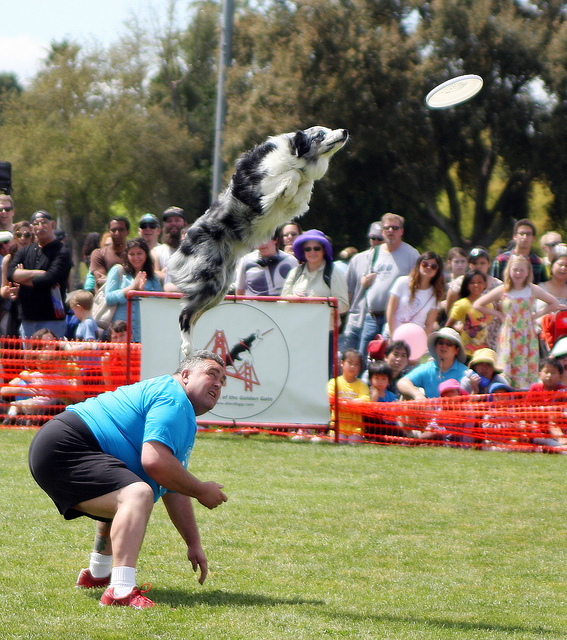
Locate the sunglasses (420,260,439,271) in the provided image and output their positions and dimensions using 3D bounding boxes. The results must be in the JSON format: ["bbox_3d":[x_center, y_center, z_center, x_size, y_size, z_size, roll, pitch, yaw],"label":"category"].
[{"bbox_3d":[1.691,-0.655,19.515,0.201,0.119,0.067,-1,-3,4],"label":"sunglasses"}]

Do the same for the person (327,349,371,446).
[{"bbox_3d":[0.743,0.851,18.552,0.439,1.000,0.412,6,13,21],"label":"person"}]

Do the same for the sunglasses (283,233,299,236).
[{"bbox_3d":[0.092,-1.109,21.459,0.176,0.039,0.134,-1,-2,7],"label":"sunglasses"}]

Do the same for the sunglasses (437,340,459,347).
[{"bbox_3d":[1.839,0.242,18.919,0.216,0.080,0.050,-1,-3,2],"label":"sunglasses"}]

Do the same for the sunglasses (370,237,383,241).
[{"bbox_3d":[1.243,-1.076,21.984,0.127,0.028,0.265,-2,-3,34],"label":"sunglasses"}]

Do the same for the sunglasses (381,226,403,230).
[{"bbox_3d":[1.286,-1.110,19.992,0.215,0.047,0.139,-1,-2,2],"label":"sunglasses"}]

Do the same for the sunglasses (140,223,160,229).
[{"bbox_3d":[-1.616,-1.152,20.356,0.218,0.073,0.083,0,-3,-11],"label":"sunglasses"}]
